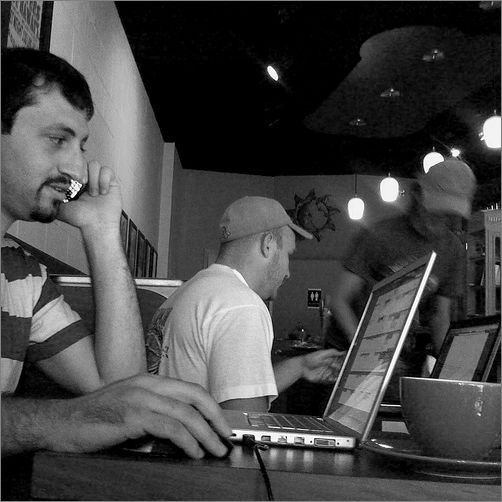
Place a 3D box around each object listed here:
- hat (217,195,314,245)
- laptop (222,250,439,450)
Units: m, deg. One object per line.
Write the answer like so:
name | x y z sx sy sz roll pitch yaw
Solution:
hat | 0.016 -0.084 1.574 0.182 0.101 0.127 -9 2 -17
laptop | 0.083 0.107 0.705 0.253 0.204 0.252 2 -7 -3
